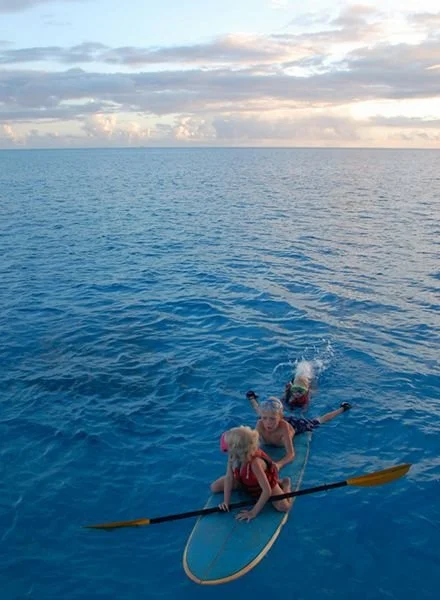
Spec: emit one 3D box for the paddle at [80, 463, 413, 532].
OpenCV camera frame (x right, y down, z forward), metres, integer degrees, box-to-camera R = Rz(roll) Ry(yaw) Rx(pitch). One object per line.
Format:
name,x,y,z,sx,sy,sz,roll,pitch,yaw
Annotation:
paddle,0.439,2.835,7.886,4.714,0.484,0.236,-10,4,-11

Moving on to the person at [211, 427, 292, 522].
person,0.462,2.471,7.743,0.958,0.921,1.007,-21,28,-32

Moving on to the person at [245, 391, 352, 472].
person,1.025,1.935,9.075,1.151,0.503,1.390,-12,9,29
